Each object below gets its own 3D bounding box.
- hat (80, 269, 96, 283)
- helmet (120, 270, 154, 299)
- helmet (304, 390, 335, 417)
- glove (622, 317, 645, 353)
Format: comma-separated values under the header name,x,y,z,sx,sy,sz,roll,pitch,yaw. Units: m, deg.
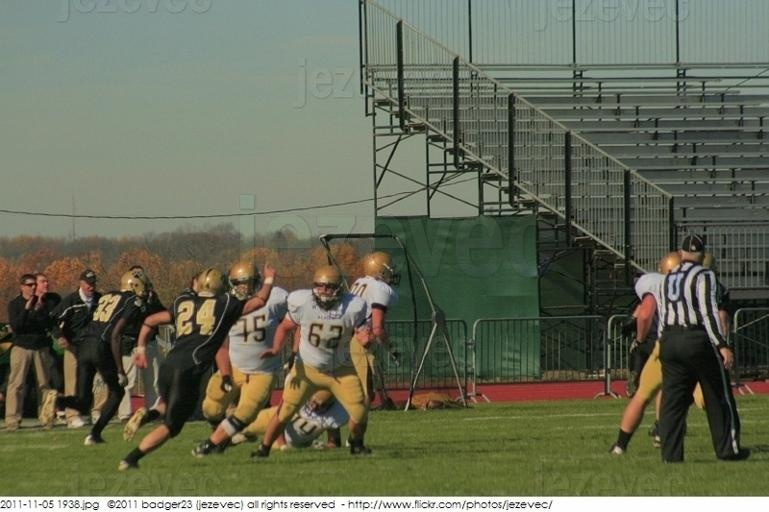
name,x,y,z,sx,sy,sz,roll,pitch,yaw
hat,-5.177,0.351,31.247,0.201,0.150,0.265,11,0,-36
helmet,-4.276,0.476,30.901,0.546,0.466,0.399,-2,12,-36
helmet,-1.029,2.421,29.785,0.445,0.434,0.326,29,2,9
glove,4.163,1.263,30.288,0.235,0.476,0.702,-1,7,7
